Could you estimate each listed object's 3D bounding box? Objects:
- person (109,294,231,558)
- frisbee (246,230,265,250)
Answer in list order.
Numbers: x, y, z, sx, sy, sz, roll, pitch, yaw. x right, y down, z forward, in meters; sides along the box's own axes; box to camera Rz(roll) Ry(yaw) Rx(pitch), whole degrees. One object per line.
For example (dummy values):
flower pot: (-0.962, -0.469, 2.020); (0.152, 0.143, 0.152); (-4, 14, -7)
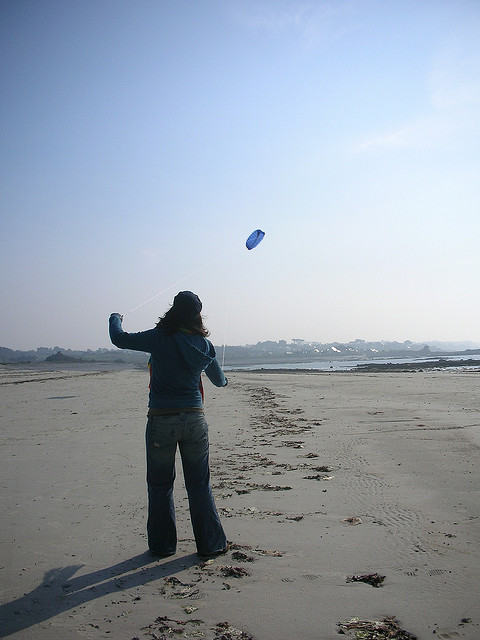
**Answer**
person: (-0.513, 0.770, 4.041); (0.869, 1.932, 0.461); (-1, -3, -14)
frisbee: (0.192, -0.903, 6.143); (0.135, 0.233, 0.368); (-3, -3, 20)
